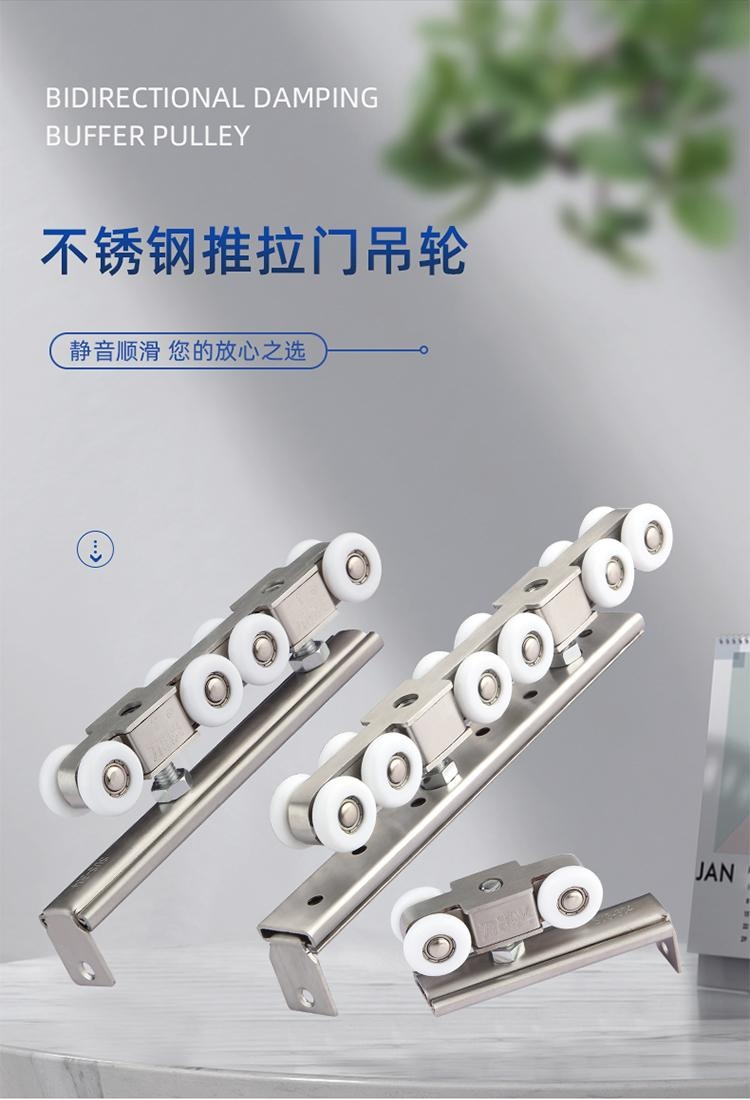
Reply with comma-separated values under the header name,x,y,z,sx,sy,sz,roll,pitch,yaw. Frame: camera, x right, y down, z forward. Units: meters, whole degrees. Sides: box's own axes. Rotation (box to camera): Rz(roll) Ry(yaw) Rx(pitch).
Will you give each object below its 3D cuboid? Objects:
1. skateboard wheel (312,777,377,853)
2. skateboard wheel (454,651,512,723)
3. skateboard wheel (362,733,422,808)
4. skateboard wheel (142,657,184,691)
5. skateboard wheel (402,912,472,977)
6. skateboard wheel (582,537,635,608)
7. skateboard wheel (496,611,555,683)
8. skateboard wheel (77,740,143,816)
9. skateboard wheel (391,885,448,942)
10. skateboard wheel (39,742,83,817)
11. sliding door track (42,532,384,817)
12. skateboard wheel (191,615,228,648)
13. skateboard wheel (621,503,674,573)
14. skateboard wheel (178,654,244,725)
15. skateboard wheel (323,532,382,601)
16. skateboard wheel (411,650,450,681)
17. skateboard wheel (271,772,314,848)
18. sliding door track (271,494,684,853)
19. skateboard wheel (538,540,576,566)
name,x,y,z,sx,sy,sz,roll,pitch,yaw
skateboard wheel,-0.038,0.314,1.316,0.031,0.082,0.087,-17,20,47
skateboard wheel,0.140,0.181,1.450,0.064,0.091,0.076,-4,-12,16
skateboard wheel,0.018,0.270,1.352,0.030,0.071,0.084,4,24,45
skateboard wheel,-0.359,0.207,1.826,0.017,0.053,0.053,45,1,-11
skateboard wheel,0.081,0.502,1.395,0.086,0.079,0.064,-2,-12,4
skateboard wheel,0.332,0.030,1.568,0.107,0.104,0.038,7,-4,-43
skateboard wheel,0.201,0.130,1.490,0.042,0.107,0.107,-1,1,31
skateboard wheel,-0.390,0.336,1.618,0.069,0.105,0.086,-9,-15,35
skateboard wheel,0.060,0.514,1.509,0.085,0.076,0.027,-17,20,-25
skateboard wheel,-0.492,0.358,1.689,0.032,0.093,0.101,0,-3,20
sliding door track,-0.274,0.209,1.760,0.606,0.155,0.161,-40,-1,-19
skateboard wheel,-0.277,0.142,1.845,0.052,0.026,0.051,-43,10,9
skateboard wheel,0.406,-0.019,1.645,0.127,0.125,0.048,-4,7,-43
skateboard wheel,-0.251,0.207,1.668,0.111,0.099,0.037,-3,4,-41
skateboard wheel,-0.039,0.028,1.761,0.093,0.095,0.034,42,-23,-28
skateboard wheel,0.077,0.172,1.649,0.053,0.047,0.046,-11,-13,17
skateboard wheel,-0.112,0.330,1.399,0.021,0.080,0.086,-8,13,29
sliding door track,0.181,0.207,1.726,0.877,0.191,0.147,-37,27,-17
skateboard wheel,0.283,0.003,1.736,0.046,0.045,0.012,-39,54,-22
